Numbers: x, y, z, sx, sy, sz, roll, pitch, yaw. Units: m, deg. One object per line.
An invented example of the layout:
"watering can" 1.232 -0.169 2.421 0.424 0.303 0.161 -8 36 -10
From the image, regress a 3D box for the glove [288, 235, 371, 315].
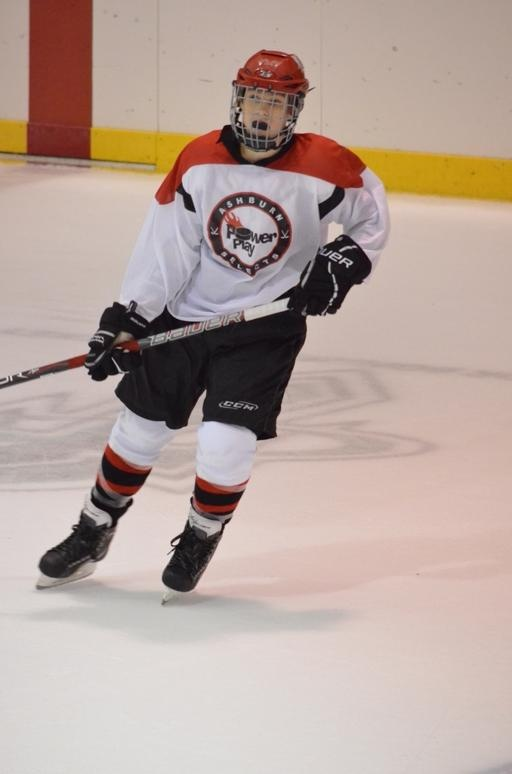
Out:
"glove" 0.164 -0.217 1.649 0.073 0.199 0.119 39 -14 23

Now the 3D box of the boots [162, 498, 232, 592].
"boots" -0.127 0.368 1.736 0.102 0.253 0.118 27 -25 7

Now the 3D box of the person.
"person" -0.064 -0.109 1.709 0.562 1.235 0.337 15 12 5

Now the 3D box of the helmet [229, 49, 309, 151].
"helmet" 0.032 -0.636 1.688 0.167 0.184 0.200 14 31 7
